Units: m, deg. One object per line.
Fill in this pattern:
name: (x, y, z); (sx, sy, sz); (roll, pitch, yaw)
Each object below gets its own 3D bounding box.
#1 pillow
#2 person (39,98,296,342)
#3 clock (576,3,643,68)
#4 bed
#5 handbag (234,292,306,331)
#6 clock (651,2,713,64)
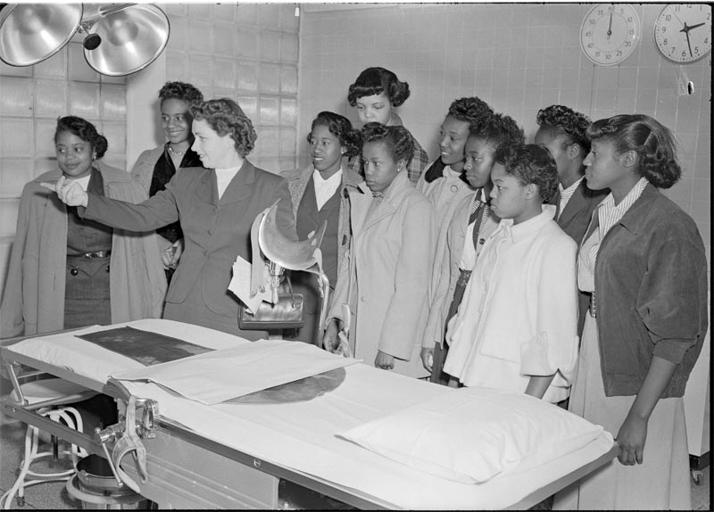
pillow: (0.409, 0.587, 2.335); (0.477, 0.107, 0.392); (-5, 10, -41)
person: (-0.816, -0.190, 3.556); (1.095, 1.221, 0.448); (2, 3, 5)
clock: (1.716, -1.496, 4.672); (0.051, 0.522, 0.488); (-7, 5, -38)
bed: (-0.234, 0.322, 2.519); (1.676, 0.469, 0.888); (12, 14, 37)
handbag: (-0.419, 0.289, 3.409); (0.208, 0.132, 0.218); (3, -3, -21)
clock: (2.065, -1.417, 4.381); (0.140, 0.382, 0.379); (0, 4, -28)
